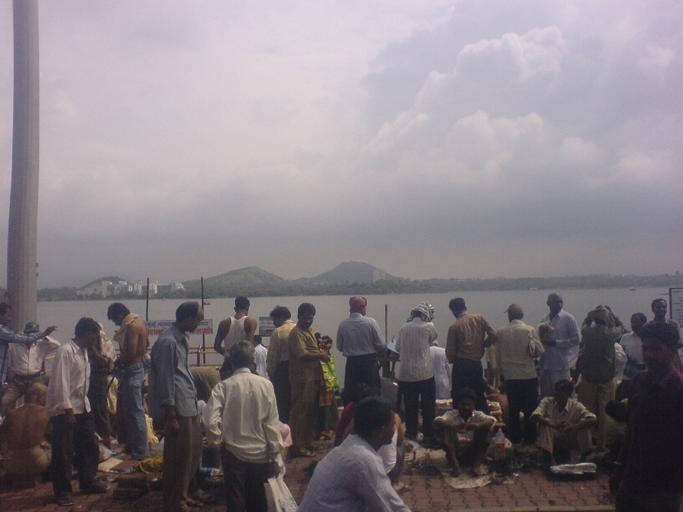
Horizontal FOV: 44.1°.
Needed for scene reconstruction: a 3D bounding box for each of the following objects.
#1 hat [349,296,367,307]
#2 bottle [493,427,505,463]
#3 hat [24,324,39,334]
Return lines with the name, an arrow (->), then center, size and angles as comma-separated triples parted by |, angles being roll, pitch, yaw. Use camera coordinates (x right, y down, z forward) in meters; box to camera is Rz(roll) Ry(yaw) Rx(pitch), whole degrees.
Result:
hat -> 0.265, 0.749, 13.906 | 0.223, 0.117, 0.320 | 0, -5, 3
bottle -> 2.284, 2.754, 12.286 | 0.219, 0.483, 0.141 | -1, 0, 14
hat -> -5.472, 1.279, 14.839 | 0.246, 0.168, 0.319 | 2, -4, -22
